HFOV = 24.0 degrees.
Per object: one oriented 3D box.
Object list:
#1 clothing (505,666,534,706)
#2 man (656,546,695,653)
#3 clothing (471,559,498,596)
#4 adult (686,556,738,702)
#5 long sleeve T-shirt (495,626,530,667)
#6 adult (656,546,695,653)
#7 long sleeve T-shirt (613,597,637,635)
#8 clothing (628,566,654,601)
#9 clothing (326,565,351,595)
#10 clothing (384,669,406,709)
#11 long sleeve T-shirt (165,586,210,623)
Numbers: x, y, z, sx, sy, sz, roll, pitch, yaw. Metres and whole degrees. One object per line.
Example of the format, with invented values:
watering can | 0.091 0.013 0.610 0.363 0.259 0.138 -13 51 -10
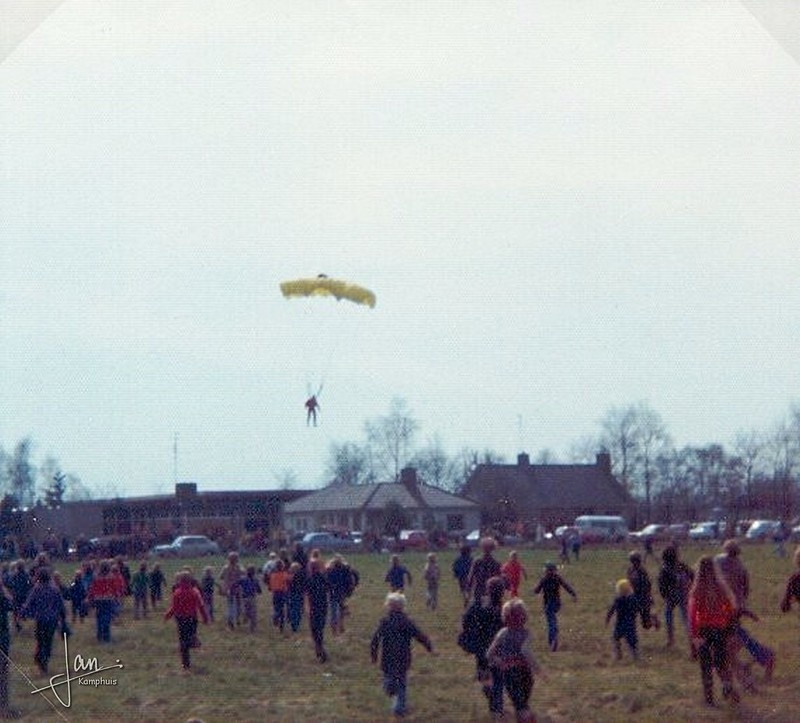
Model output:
clothing | 1.158 3.176 18.320 0.268 0.407 0.283 0 -9 3
man | 3.082 2.628 21.075 0.228 1.187 0.338 9 15 37
clothing | 0.896 2.314 20.274 0.322 0.437 0.644 -1 -9 8
adult | 3.224 2.704 19.292 0.514 1.668 0.456 -2 20 16
long sleeve T-shirt | 1.103 2.772 18.228 0.356 0.365 0.203 -2 -2 17
adult | 3.100 2.628 21.076 0.228 1.187 0.338 9 15 37
long sleeve T-shirt | 2.471 2.774 20.540 0.269 0.420 0.365 -1 -9 8
clothing | 2.688 2.501 20.845 0.257 0.375 0.140 2 16 24
clothing | -0.704 2.502 21.884 0.245 0.355 0.341 -2 15 -2
clothing | -0.056 3.366 19.233 0.249 0.447 0.199 0 1 -10
long sleeve T-shirt | -2.393 2.734 21.143 0.586 0.598 0.247 0 9 -3
